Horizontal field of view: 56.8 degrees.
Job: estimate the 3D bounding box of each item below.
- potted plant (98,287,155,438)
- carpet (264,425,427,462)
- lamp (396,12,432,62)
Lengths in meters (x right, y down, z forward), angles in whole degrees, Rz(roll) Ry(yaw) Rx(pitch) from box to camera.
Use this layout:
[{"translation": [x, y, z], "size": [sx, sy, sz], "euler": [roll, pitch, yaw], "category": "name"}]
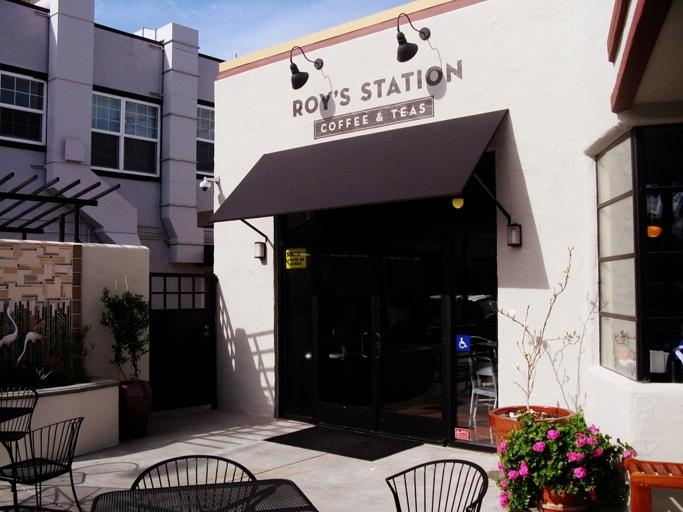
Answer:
[{"translation": [-3.749, 1.821, 10.946], "size": [0.867, 2.540, 0.902], "euler": [3, -6, -30], "category": "potted plant"}, {"translation": [0.065, 2.998, 10.099], "size": [2.229, 0.151, 1.247], "euler": [-4, -7, 32], "category": "carpet"}, {"translation": [1.166, -3.610, 10.233], "size": [0.555, 0.890, 0.555], "euler": [-1, -5, 4], "category": "lamp"}]
